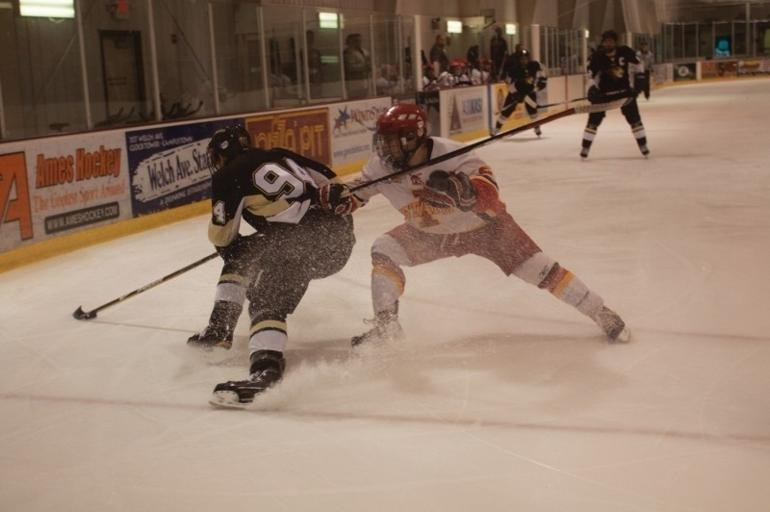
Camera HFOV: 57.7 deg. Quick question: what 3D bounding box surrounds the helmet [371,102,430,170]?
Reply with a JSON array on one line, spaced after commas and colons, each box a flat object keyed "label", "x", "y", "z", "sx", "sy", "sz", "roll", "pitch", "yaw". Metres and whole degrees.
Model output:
[{"label": "helmet", "x": 0.076, "y": -0.714, "z": 4.214, "sx": 0.400, "sy": 0.353, "sz": 0.309, "roll": -19, "pitch": 15, "yaw": -27}]

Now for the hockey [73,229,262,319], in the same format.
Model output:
[{"label": "hockey", "x": -1.748, "y": 0.163, "z": 5.471, "sx": 1.230, "sy": 0.268, "sz": 0.076, "roll": -24, "pitch": 51, "yaw": -3}]

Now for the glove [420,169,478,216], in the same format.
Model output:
[{"label": "glove", "x": 0.273, "y": -0.355, "z": 4.051, "sx": 0.366, "sy": 0.206, "sz": 0.445, "roll": 6, "pitch": 1, "yaw": -26}]

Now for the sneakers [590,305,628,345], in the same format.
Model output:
[{"label": "sneakers", "x": 1.370, "y": 0.412, "z": 4.262, "sx": 0.284, "sy": 0.166, "sz": 0.111, "roll": 40, "pitch": 27, "yaw": -5}]

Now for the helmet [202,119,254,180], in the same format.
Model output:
[{"label": "helmet", "x": -0.977, "y": -0.661, "z": 4.363, "sx": 0.303, "sy": 0.274, "sz": 0.219, "roll": -11, "pitch": 8, "yaw": 7}]

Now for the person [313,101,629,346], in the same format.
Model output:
[{"label": "person", "x": 0.549, "y": -0.179, "z": 4.133, "sx": 1.839, "sy": 1.332, "sz": 0.904, "roll": -2, "pitch": -4, "yaw": -3}]

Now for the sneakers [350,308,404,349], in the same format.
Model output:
[{"label": "sneakers", "x": -0.051, "y": 0.453, "z": 4.087, "sx": 0.284, "sy": 0.132, "sz": 0.177, "roll": -32, "pitch": 47, "yaw": -4}]

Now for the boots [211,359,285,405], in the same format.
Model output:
[{"label": "boots", "x": -0.690, "y": 0.670, "z": 3.767, "sx": 0.471, "sy": 0.213, "sz": 0.163, "roll": -2, "pitch": 3, "yaw": -40}]

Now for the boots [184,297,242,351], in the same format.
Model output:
[{"label": "boots", "x": -1.030, "y": 0.398, "z": 4.262, "sx": 0.278, "sy": 0.280, "sz": 0.227, "roll": 10, "pitch": 6, "yaw": 16}]
